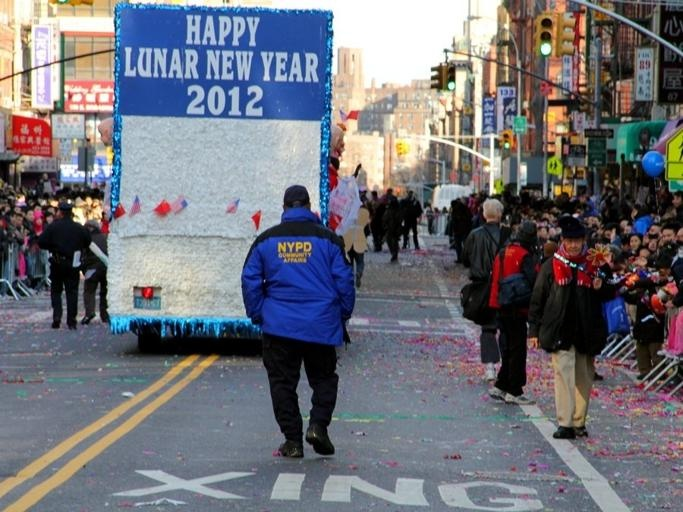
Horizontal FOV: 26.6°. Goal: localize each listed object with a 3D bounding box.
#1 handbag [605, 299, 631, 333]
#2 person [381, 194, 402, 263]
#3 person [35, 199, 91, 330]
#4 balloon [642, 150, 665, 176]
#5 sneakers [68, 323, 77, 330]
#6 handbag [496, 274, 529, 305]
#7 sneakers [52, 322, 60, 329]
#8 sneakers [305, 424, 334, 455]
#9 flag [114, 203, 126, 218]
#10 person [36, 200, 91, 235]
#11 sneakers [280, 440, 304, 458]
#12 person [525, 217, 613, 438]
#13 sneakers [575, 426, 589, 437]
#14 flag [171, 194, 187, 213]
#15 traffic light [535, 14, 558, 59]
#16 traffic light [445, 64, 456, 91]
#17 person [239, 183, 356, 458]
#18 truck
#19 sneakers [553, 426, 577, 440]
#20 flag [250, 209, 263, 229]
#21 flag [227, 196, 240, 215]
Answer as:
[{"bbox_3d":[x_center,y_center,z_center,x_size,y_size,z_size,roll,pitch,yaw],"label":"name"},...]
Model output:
[{"bbox_3d":[4.206,0.872,22.161,0.349,0.129,0.756,0,48,-1],"label":"handbag"},{"bbox_3d":[1.586,-0.923,41.931,0.434,2.307,0.915,2,-17,1],"label":"person"},{"bbox_3d":[-4.763,0.273,25.120,0.836,1.861,0.798,-1,4,-5],"label":"person"},{"bbox_3d":[6.359,-1.908,29.545,0.400,0.517,0.910,1,5,9],"label":"balloon"},{"bbox_3d":[-4.589,1.186,24.851,0.148,0.103,0.296,-1,5,-15],"label":"sneakers"},{"bbox_3d":[2.173,0.372,17.992,0.362,0.379,0.250,-14,2,9],"label":"handbag"},{"bbox_3d":[-4.881,1.183,24.854,0.103,0.112,0.109,1,3,-3],"label":"sneakers"},{"bbox_3d":[-0.222,1.970,15.273,0.221,0.186,0.466,-6,-26,14],"label":"sneakers"},{"bbox_3d":[-3.115,-0.679,20.480,0.179,0.205,0.016,2,25,-5],"label":"flag"},{"bbox_3d":[-4.844,-0.712,25.488,0.935,0.619,0.449,-1,9,-12],"label":"person"},{"bbox_3d":[-0.509,2.063,15.363,0.121,0.154,0.301,1,5,-35],"label":"sneakers"},{"bbox_3d":[2.626,0.793,16.613,0.925,2.530,0.657,0,4,6],"label":"person"},{"bbox_3d":[2.744,2.020,16.552,0.111,0.131,0.123,-1,0,-17],"label":"sneakers"},{"bbox_3d":[-2.278,-0.741,20.483,0.201,0.209,0.202,47,-6,22],"label":"flag"},{"bbox_3d":[4.404,-4.836,31.243,0.386,0.883,0.771,0,4,9],"label":"traffic light"},{"bbox_3d":[3.123,-5.200,41.488,0.228,0.727,0.416,0,4,-1],"label":"traffic light"},{"bbox_3d":[-0.440,0.711,15.389,1.150,2.869,0.611,0,4,0],"label":"person"},{"bbox_3d":[-1.903,-1.048,22.437,2.908,4.793,4.585,1,-6,-1],"label":"truck"},{"bbox_3d":[2.533,2.006,16.446,0.232,0.180,0.130,9,1,5],"label":"sneakers"},{"bbox_3d":[-1.186,-0.553,20.463,0.217,0.271,0.011,5,-3,5],"label":"flag"},{"bbox_3d":[-1.507,-0.744,20.466,0.120,0.223,0.111,15,25,-51],"label":"flag"}]
